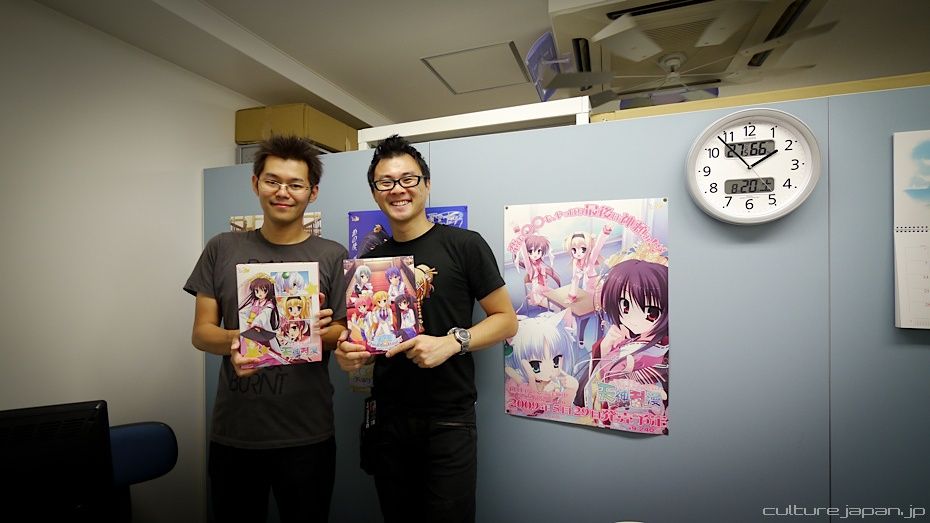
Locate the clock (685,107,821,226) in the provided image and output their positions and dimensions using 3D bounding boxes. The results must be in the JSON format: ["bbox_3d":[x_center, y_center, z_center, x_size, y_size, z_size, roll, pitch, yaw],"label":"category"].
[{"bbox_3d":[2.037,-0.665,3.959,0.968,0.837,0.124,0,-2,11],"label":"clock"}]
